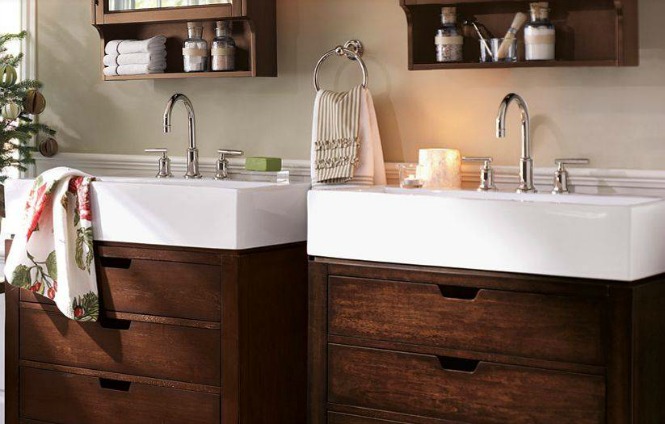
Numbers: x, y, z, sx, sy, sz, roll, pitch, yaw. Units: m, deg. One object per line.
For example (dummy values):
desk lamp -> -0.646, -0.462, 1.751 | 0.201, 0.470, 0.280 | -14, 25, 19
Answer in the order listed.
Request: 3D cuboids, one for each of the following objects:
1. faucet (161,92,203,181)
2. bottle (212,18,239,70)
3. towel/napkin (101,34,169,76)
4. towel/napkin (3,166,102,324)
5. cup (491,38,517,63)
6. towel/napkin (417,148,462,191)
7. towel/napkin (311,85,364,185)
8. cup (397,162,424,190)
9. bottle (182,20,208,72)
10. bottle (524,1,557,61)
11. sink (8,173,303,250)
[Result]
faucet -> -0.728, -0.376, 2.779 | 0.161, 0.405, 0.389 | -7, 11, -14
bottle -> -0.518, -0.778, 2.696 | 0.114, 0.232, 0.118 | -4, 11, 1
towel/napkin -> -0.964, -0.744, 2.769 | 0.241, 0.138, 0.227 | -1, 3, 8
towel/napkin -> -1.089, 0.109, 2.363 | 0.537, 0.551, 0.172 | 13, 5, 17
cup -> 0.675, -0.633, 2.273 | 0.095, 0.095, 0.105 | -1, 8, -20
towel/napkin -> 0.436, -0.180, 2.350 | 0.174, 0.133, 0.172 | -3, 4, -30
towel/napkin -> 0.019, -0.330, 2.457 | 0.203, 0.381, 0.133 | 0, 11, 20
cup -> 0.326, -0.155, 2.383 | 0.110, 0.077, 0.088 | -3, 5, -44
bottle -> -0.653, -0.783, 2.738 | 0.124, 0.237, 0.171 | -6, 11, -11
bottle -> 0.815, -0.705, 2.242 | 0.131, 0.224, 0.096 | -3, 11, 6
sink -> -0.542, 0.005, 2.295 | 0.868, 0.305, 0.311 | -3, 11, 4
